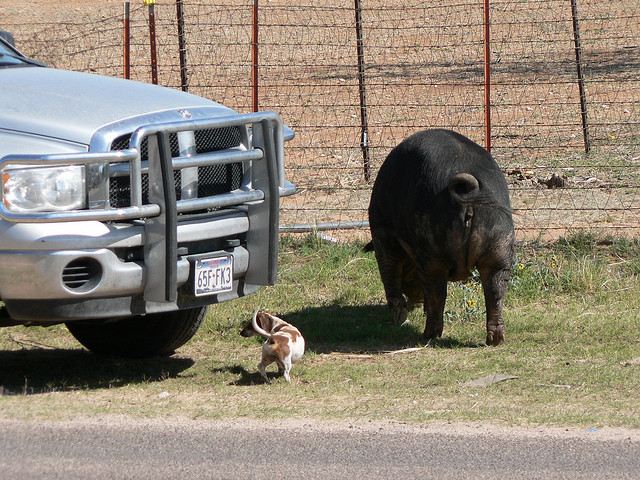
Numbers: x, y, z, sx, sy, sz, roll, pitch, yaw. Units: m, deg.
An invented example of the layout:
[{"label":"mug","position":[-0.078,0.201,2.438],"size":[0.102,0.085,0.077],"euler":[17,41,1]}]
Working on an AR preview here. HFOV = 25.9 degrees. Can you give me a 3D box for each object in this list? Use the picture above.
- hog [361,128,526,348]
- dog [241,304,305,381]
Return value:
[{"label":"hog","position":[1.253,-0.020,14.297],"size":[0.784,2.202,1.460],"euler":[-4,5,-39]},{"label":"dog","position":[-0.342,1.059,13.643],"size":[0.333,0.724,1.086],"euler":[-5,-4,22]}]
